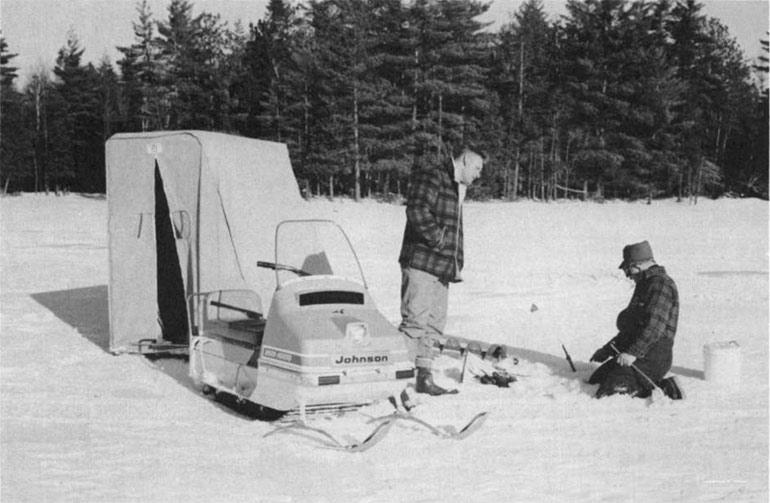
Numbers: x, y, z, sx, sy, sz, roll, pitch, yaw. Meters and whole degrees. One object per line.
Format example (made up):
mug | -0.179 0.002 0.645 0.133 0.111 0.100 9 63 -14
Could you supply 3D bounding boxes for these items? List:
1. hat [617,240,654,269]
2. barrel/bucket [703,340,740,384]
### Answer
hat | 7.792 0.093 43.182 1.018 0.711 0.769 -6 -1 36
barrel/bucket | 10.544 3.513 43.198 1.151 1.645 1.128 -1 3 0
